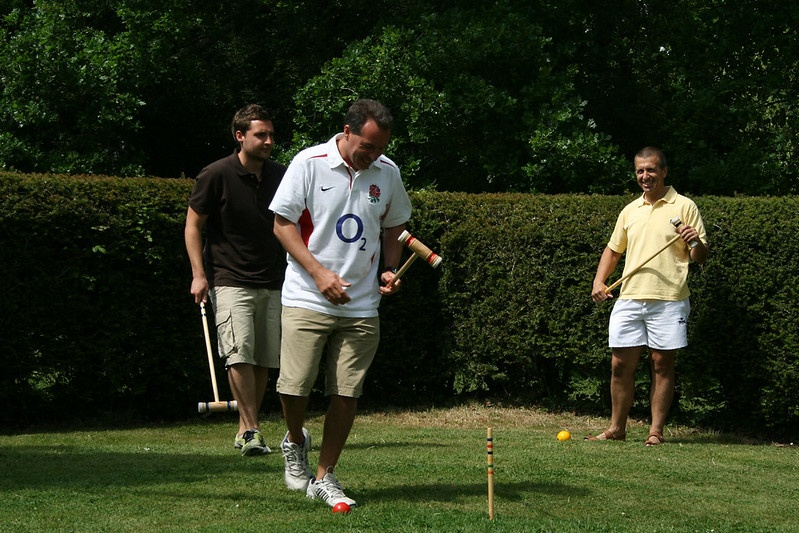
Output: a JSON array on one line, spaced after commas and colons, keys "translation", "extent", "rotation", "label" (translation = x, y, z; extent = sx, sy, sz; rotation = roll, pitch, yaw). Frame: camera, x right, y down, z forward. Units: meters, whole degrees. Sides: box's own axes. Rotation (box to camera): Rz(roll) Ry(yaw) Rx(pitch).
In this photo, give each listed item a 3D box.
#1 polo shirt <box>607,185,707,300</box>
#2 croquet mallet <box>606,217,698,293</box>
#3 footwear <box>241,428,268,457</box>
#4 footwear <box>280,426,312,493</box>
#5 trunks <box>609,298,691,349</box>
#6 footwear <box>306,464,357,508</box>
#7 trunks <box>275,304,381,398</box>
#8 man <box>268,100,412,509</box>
[{"translation": [3.168, -0.233, 13.315], "extent": [1.470, 1.464, 0.838], "rotation": [0, -10, 35], "label": "polo shirt"}, {"translation": [3.078, -0.157, 13.185], "extent": [1.390, 0.204, 0.196], "rotation": [-37, -6, 8], "label": "croquet mallet"}, {"translation": [-1.577, 1.939, 11.888], "extent": [0.272, 0.296, 0.173], "rotation": [0, 9, -7], "label": "footwear"}, {"translation": [-1.020, 1.958, 11.140], "extent": [0.246, 0.687, 0.308], "rotation": [-5, 0, 5], "label": "footwear"}, {"translation": [3.005, 0.628, 13.355], "extent": [1.041, 0.702, 0.597], "rotation": [-3, 4, 11], "label": "trunks"}, {"translation": [-0.689, 2.208, 10.788], "extent": [0.231, 0.302, 0.648], "rotation": [-2, 6, -43], "label": "footwear"}, {"translation": [-0.756, 0.821, 11.020], "extent": [1.236, 1.067, 0.658], "rotation": [9, -10, -12], "label": "trunks"}, {"translation": [-0.635, 0.311, 10.904], "extent": [1.284, 3.948, 0.891], "rotation": [-1, 10, -9], "label": "man"}]
